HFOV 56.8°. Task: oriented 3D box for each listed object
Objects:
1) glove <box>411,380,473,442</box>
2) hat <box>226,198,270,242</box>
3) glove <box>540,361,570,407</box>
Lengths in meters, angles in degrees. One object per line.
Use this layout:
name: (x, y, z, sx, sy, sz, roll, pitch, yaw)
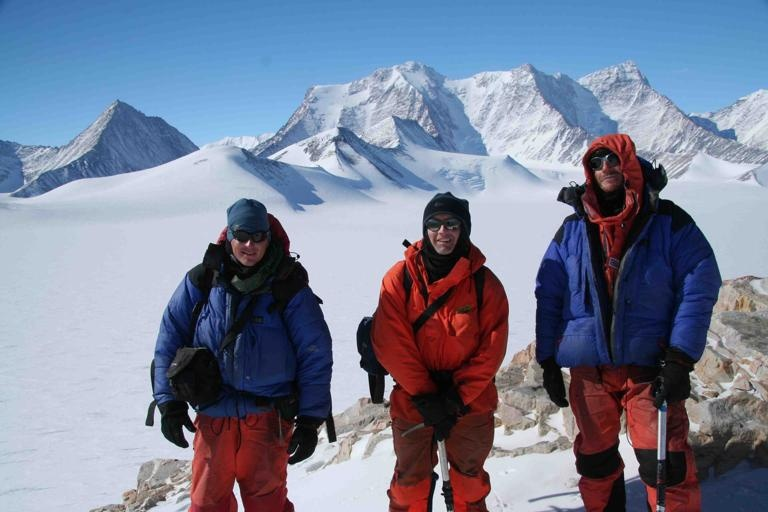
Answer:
glove: (0.870, 2.355, 10.766, 0.809, 0.663, 0.240, -7, -3, 0)
hat: (-2.145, -0.566, 11.188, 0.565, 0.576, 0.722, 3, -15, -28)
glove: (2.705, 1.980, 11.273, 0.457, 0.748, 0.290, -14, 0, -7)
